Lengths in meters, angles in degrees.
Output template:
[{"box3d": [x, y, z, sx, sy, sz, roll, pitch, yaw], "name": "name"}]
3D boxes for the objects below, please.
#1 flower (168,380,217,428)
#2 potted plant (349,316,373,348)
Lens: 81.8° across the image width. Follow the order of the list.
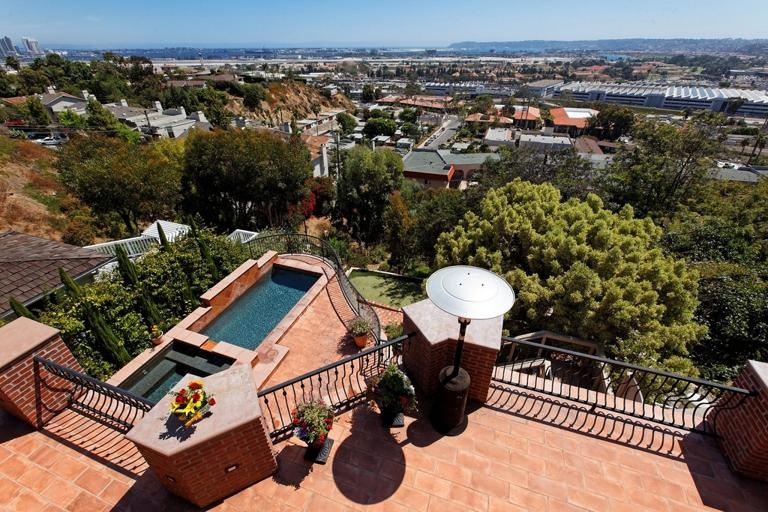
[{"box3d": [-5.087, 3.834, 11.892, 1.185, 0.842, 1.128, -24, 29, 6], "name": "flower"}, {"box3d": [-0.933, 2.898, 16.935, 0.859, 0.889, 0.780, 16, 36, 24], "name": "potted plant"}]
